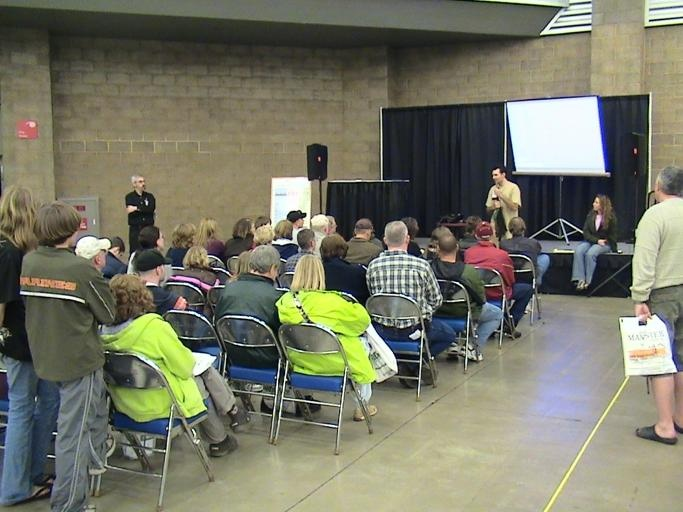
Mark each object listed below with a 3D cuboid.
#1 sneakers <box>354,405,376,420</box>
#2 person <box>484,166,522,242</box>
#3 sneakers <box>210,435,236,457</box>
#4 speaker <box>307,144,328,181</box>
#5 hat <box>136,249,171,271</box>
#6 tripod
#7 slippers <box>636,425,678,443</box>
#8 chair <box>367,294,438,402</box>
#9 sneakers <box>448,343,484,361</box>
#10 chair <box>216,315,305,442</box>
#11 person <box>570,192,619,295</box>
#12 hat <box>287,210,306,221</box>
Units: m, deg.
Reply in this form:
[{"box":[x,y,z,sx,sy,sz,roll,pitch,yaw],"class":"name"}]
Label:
[{"box":[0.201,1.265,5.070,0.102,0.095,0.218,4,15,34],"class":"sneakers"},{"box":[2.565,-0.611,9.910,0.488,1.501,0.333,6,15,40],"class":"person"},{"box":[-0.862,1.406,4.610,0.083,0.111,0.237,5,9,24],"class":"sneakers"},{"box":[-0.410,-1.569,10.393,0.335,0.613,0.271,-4,7,-5],"class":"speaker"},{"box":[-1.511,0.053,4.943,0.161,0.129,0.228,8,17,34],"class":"hat"},{"box":[3.994,-0.984,11.299,0.877,1.407,0.923,3,-3,0],"class":"tripod"},{"box":[2.341,1.309,4.592,0.226,0.087,0.113,10,8,42],"class":"slippers"},{"box":[0.467,0.811,5.568,0.672,0.883,0.719,-5,-10,38],"class":"chair"},{"box":[1.284,0.970,6.359,0.417,0.197,0.166,5,2,-33],"class":"sneakers"},{"box":[-0.621,0.875,4.935,0.530,0.924,0.690,3,9,16],"class":"chair"},{"box":[3.663,-0.179,9.004,0.637,1.387,0.380,-2,7,12],"class":"person"},{"box":[-0.591,-0.526,8.111,0.151,0.075,0.221,8,16,38],"class":"hat"}]
